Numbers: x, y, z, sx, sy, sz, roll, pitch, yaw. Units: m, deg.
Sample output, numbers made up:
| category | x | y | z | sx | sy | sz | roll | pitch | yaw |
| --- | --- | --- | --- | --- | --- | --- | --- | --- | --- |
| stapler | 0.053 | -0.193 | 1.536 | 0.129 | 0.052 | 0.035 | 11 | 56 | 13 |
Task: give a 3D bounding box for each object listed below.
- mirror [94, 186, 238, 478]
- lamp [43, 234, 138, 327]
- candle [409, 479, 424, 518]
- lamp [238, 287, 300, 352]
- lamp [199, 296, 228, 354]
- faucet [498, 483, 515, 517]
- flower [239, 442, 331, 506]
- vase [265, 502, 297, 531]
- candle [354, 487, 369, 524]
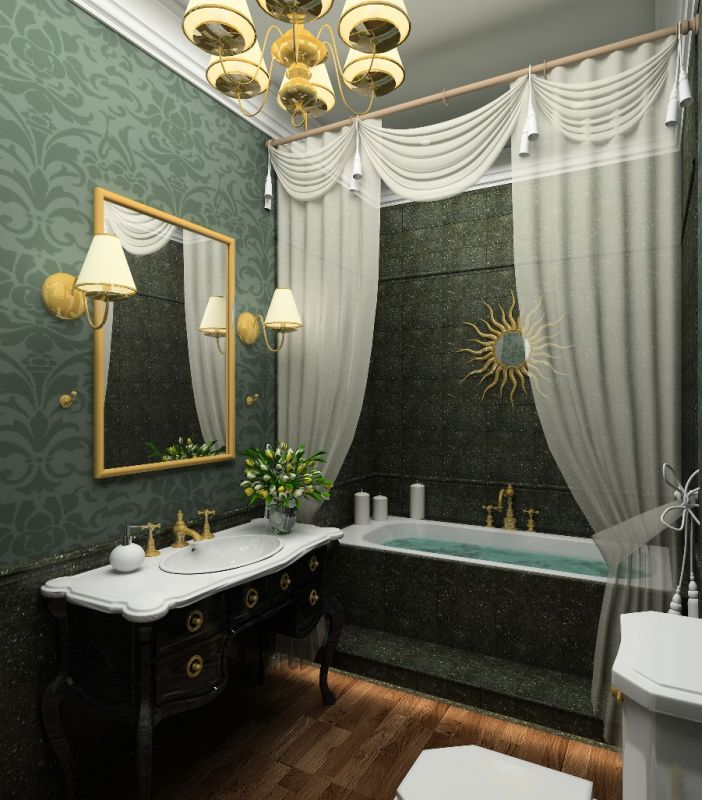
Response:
| category | x | y | z | sx | sy | sz | roll | pitch | yaw |
| --- | --- | --- | --- | --- | --- | --- | --- | --- | --- |
| mirror | -0.684 | -0.220 | 2.416 | 0.055 | 1.001 | 0.765 | 2 | 5 | 27 |
| lamp | -0.793 | -0.358 | 2.083 | 0.322 | 0.317 | 0.218 | -5 | -6 | 24 |
| candle | 0.416 | 0.632 | 3.978 | 0.094 | 0.218 | 0.098 | 0 | 4 | 4 |
| lamp | -0.338 | -0.341 | 2.737 | 0.256 | 0.245 | 0.168 | 0 | 0 | 20 |
| lamp | -0.564 | -0.301 | 2.657 | 0.134 | 0.212 | 0.131 | -7 | -7 | 15 |
| faucet | 0.907 | 0.585 | 3.723 | 0.101 | 0.195 | 0.054 | 1 | 4 | 19 |
| flower | -0.254 | 0.311 | 2.604 | 0.292 | 0.223 | 0.367 | 15 | 3 | -3 |
| vase | -0.270 | 0.462 | 2.547 | 0.123 | 0.120 | 0.118 | 0 | -10 | 5 |
| candle | 0.065 | 0.652 | 3.903 | 0.147 | 0.252 | 0.147 | 0 | -1 | 1 |
